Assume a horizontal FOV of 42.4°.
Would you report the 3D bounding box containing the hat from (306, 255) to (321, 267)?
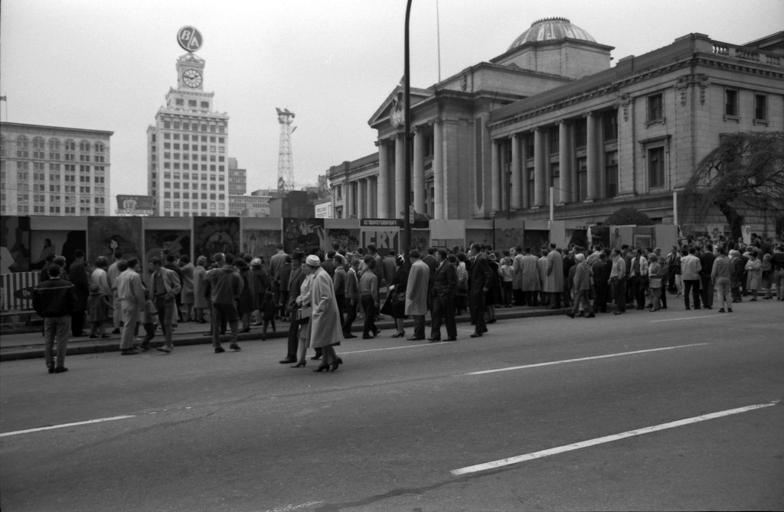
[{"bbox_3d":[-2.245,0.138,28.369,0.335,0.339,0.389,-2,0,-10],"label":"hat"}]
